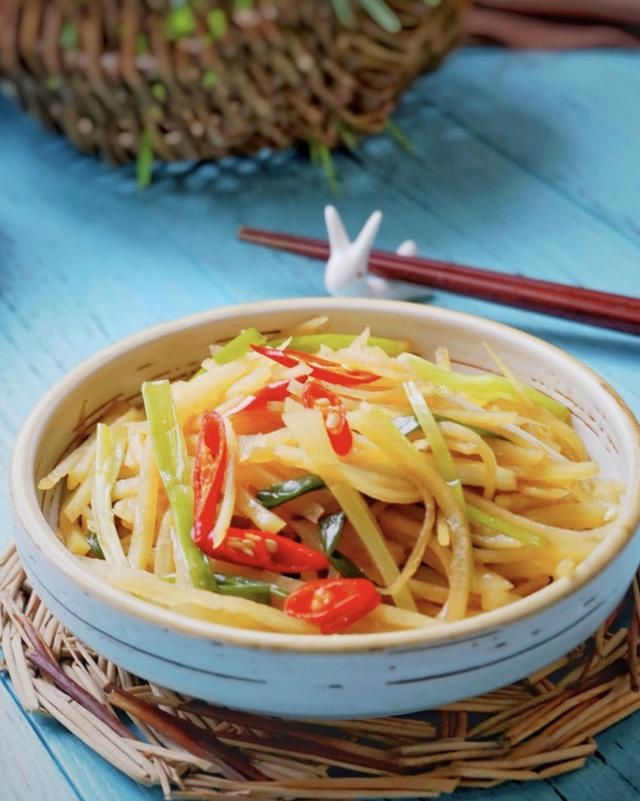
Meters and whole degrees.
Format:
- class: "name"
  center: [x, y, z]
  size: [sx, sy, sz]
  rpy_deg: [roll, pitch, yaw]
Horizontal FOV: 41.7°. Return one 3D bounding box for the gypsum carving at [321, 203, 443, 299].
- class: "gypsum carving"
  center: [0.102, -0.303, 1.789]
  size: [0.201, 0.222, 0.247]
  rpy_deg: [-13, 18, -39]
